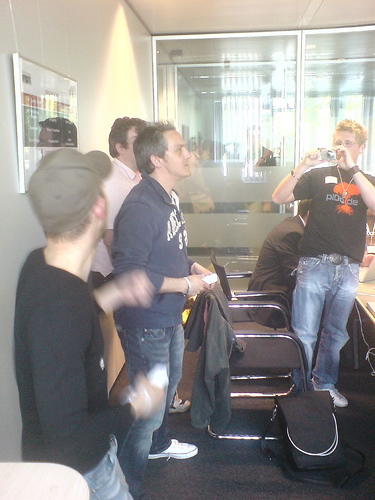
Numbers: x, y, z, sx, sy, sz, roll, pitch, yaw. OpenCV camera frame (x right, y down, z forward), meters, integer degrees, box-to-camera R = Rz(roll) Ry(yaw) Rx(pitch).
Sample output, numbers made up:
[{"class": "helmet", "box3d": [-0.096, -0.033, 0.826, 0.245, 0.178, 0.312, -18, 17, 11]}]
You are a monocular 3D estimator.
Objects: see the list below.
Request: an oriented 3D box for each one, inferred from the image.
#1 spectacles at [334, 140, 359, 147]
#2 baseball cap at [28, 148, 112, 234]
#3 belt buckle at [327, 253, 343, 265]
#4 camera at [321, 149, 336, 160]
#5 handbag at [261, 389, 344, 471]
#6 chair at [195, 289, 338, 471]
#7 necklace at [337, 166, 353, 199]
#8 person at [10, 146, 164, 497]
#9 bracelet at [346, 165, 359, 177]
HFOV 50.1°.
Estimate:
[{"class": "spectacles", "box3d": [0.965, -0.655, 2.475, 0.112, 0.046, 0.023, 1, 10, 18]}, {"class": "baseball cap", "box3d": [-0.251, -0.166, 0.844, 0.145, 0.108, 0.202, 19, 61, 18]}, {"class": "belt buckle", "box3d": [0.867, 0.056, 2.371, 0.087, 0.067, 0.010, 1, 10, 18]}, {"class": "camera", "box3d": [0.851, -0.573, 2.421, 0.097, 0.067, 0.058, 2, 9, 17]}, {"class": "handbag", "box3d": [0.599, 0.902, 2.007, 0.286, 0.272, 0.282, -2, 9, 0]}, {"class": "chair", "box3d": [0.423, 0.713, 2.464, 0.738, 0.782, 1.386, 2, -8, -5]}, {"class": "necklace", "box3d": [0.921, -0.402, 2.407, 0.101, 0.187, 0.103, 6, 13, 43]}, {"class": "person", "box3d": [-0.251, 0.211, 0.859, 0.293, 0.834, 0.274, 5, 12, 38]}, {"class": "bracelet", "box3d": [0.957, -0.462, 2.336, 0.052, 0.039, 0.052, -35, 16, 23]}]
